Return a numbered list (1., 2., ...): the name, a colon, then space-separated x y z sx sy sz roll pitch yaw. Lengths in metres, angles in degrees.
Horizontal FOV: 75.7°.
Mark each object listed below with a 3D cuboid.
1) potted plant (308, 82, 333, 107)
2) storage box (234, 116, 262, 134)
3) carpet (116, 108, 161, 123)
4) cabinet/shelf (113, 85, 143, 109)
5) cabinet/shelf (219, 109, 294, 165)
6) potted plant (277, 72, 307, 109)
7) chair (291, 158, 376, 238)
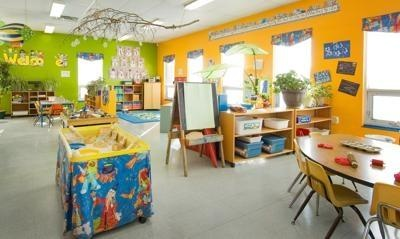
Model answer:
1. potted plant: 3.233 -0.631 7.106 0.717 0.640 0.698 0 -1 -6
2. storage box: 1.110 0.126 6.107 0.569 0.262 0.373 -2 5 -28
3. carpet: -2.693 -0.212 11.505 1.888 0.294 3.633 -2 8 -14
4. cabinet/shelf: -3.745 -1.138 13.163 1.421 1.239 0.487 -2 4 -33
5. cabinet/shelf: 1.299 0.430 6.174 1.332 0.825 0.463 -4 6 -31
6. potted plant: 2.340 -0.792 6.648 0.775 0.963 0.384 3 8 23
7. chair: 2.047 1.113 4.552 1.269 1.494 1.074 -5 6 -9
